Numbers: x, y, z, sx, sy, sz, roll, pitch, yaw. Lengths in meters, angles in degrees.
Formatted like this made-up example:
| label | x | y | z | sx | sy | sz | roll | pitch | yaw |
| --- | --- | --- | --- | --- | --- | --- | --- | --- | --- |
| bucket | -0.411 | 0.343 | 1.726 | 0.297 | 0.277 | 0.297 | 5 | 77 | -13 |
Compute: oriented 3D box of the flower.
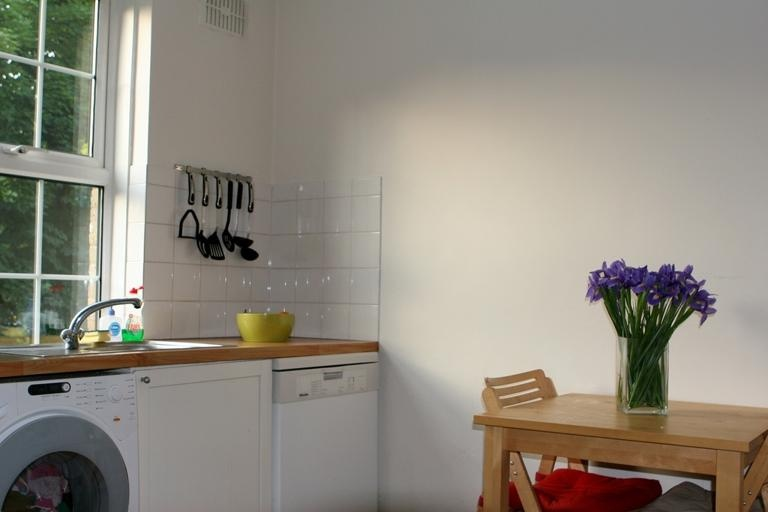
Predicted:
| label | x | y | z | sx | sy | sz | roll | pitch | yaw |
| --- | --- | --- | --- | --- | --- | --- | --- | --- | --- |
| flower | 1.108 | 0.323 | 2.745 | 0.594 | 0.676 | 0.603 | 0 | 0 | 12 |

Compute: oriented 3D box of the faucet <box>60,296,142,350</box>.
| label | x | y | z | sx | sy | sz | roll | pitch | yaw |
| --- | --- | --- | --- | --- | --- | --- | --- | --- | --- |
| faucet | -1.438 | 0.327 | 3.043 | 0.339 | 0.226 | 0.499 | -1 | 1 | -23 |
